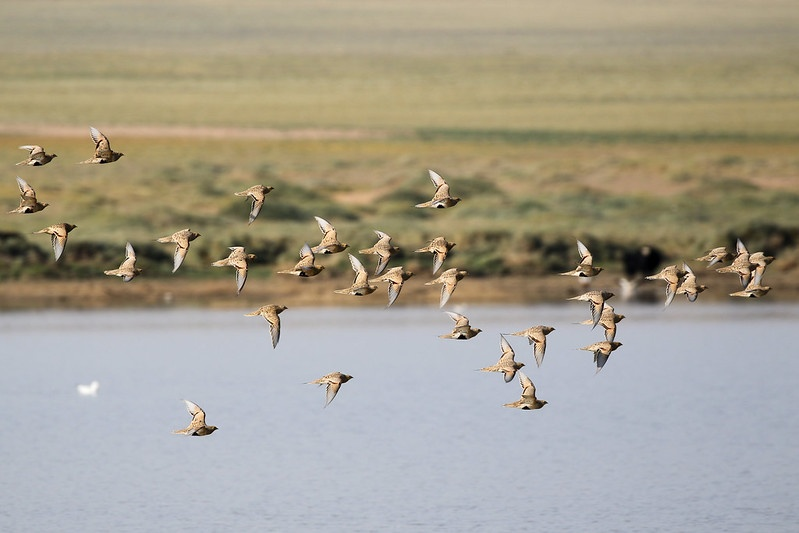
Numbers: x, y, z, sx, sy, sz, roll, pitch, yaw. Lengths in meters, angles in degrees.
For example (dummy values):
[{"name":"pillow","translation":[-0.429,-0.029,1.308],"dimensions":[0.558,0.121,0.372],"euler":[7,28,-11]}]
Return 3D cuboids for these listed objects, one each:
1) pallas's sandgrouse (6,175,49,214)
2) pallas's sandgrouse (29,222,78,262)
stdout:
[{"name":"pallas's sandgrouse","translation":[-7.824,-1.470,38.317],"dimensions":[0.562,0.724,0.906],"euler":[2,2,-11]},{"name":"pallas's sandgrouse","translation":[-7.236,-0.498,38.395],"dimensions":[0.548,0.736,1.411],"euler":[2,1,-10]}]
